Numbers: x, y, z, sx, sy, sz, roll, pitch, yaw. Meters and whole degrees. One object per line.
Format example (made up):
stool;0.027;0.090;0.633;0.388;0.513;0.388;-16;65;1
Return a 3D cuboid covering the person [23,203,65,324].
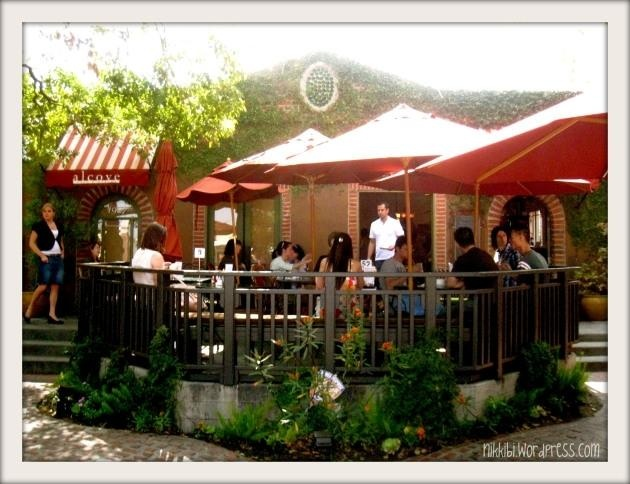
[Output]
person;-5.166;0.421;12.630;0.639;2.310;0.488;2;-4;-22

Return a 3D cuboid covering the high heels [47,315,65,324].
high heels;-5.131;1.522;12.792;0.442;0.201;0.160;2;3;-17

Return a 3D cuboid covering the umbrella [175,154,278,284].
umbrella;-1.591;-0.400;12.730;1.725;2.485;1.772;-8;-6;-6

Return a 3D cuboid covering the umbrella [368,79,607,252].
umbrella;2.297;-1.208;8.748;2.923;1.289;3.337;2;0;28

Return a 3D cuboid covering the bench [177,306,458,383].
bench;-0.114;1.397;8.813;3.452;0.952;1.270;1;-4;-4
